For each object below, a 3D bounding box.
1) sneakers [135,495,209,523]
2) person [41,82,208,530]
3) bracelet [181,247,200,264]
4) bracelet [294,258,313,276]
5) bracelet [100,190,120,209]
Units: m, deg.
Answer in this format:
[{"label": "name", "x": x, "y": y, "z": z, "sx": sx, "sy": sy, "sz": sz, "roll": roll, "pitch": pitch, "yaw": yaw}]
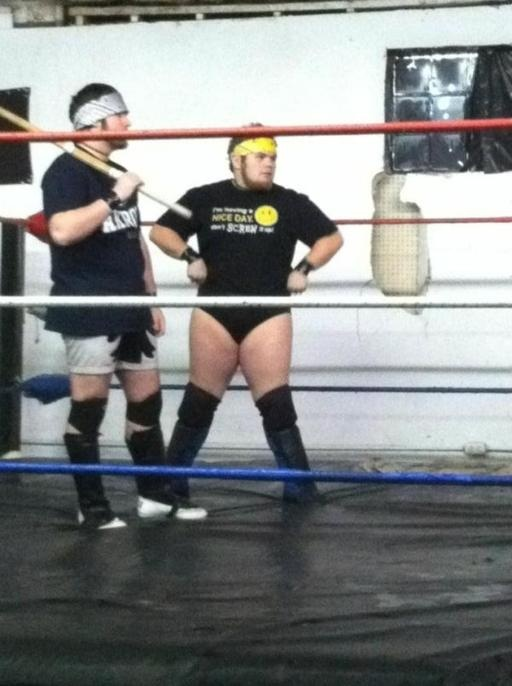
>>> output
[{"label": "sneakers", "x": -0.233, "y": 0.459, "z": 2.554, "sx": 0.211, "sy": 0.069, "sz": 0.063, "roll": 0, "pitch": -4, "yaw": 4}, {"label": "person", "x": -0.375, "y": -0.108, "z": 2.499, "sx": 0.355, "sy": 1.086, "sz": 0.520, "roll": -1, "pitch": 0, "yaw": 28}, {"label": "bracelet", "x": -0.189, "y": -0.235, "z": 2.603, "sx": 0.056, "sy": 0.051, "sz": 0.051, "roll": 1, "pitch": 47, "yaw": -15}, {"label": "bracelet", "x": 0.137, "y": -0.212, "z": 2.602, "sx": 0.043, "sy": 0.047, "sz": 0.054, "roll": 23, "pitch": -4, "yaw": 2}, {"label": "bracelet", "x": -0.363, "y": -0.359, "z": 2.323, "sx": 0.049, "sy": 0.029, "sz": 0.044, "roll": 1, "pitch": -1, "yaw": 5}]
